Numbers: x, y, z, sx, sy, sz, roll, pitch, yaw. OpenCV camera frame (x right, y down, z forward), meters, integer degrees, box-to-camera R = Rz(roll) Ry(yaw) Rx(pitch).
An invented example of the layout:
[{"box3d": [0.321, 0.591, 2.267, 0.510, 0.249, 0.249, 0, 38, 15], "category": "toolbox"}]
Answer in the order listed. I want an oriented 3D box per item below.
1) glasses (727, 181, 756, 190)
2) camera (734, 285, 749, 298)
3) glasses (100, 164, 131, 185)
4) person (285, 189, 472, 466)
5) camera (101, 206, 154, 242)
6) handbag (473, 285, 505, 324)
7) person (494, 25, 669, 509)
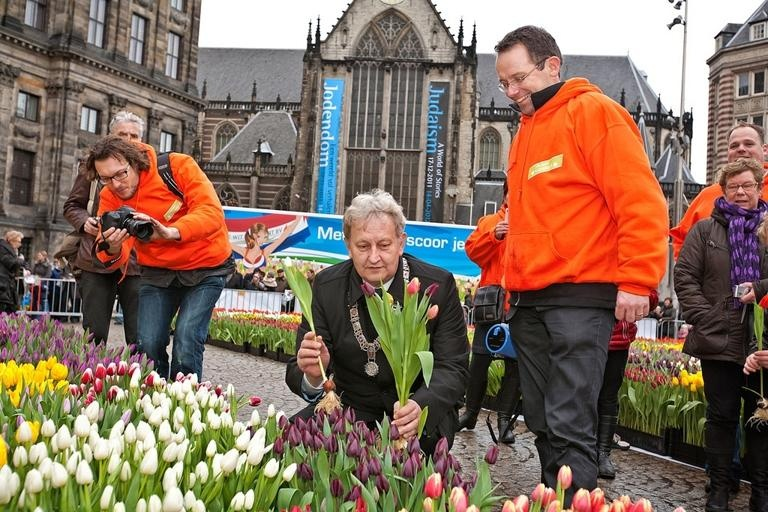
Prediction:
[{"box3d": [3.416, -0.659, 6.803, 0.113, 0.034, 0.119, -6, -20, 40], "category": "glasses"}, {"box3d": [3.157, 0.307, 6.278, 0.059, 0.095, 0.103, -7, 10, -34], "category": "camera"}, {"box3d": [-2.629, -0.789, 6.887, 0.325, 0.178, 0.154, 1, -1, 26], "category": "glasses"}, {"box3d": [-0.038, 0.494, 5.448, 1.363, 1.545, 0.911, 2, -1, 6], "category": "person"}, {"box3d": [-2.394, -0.310, 6.639, 0.398, 0.231, 0.375, 22, 14, 35], "category": "camera"}, {"box3d": [1.168, 0.518, 7.623, 0.281, 0.430, 0.394, 20, -20, -35], "category": "handbag"}, {"box3d": [1.456, -0.039, 5.464, 1.326, 3.610, 0.730, 2, -1, 21], "category": "person"}]
